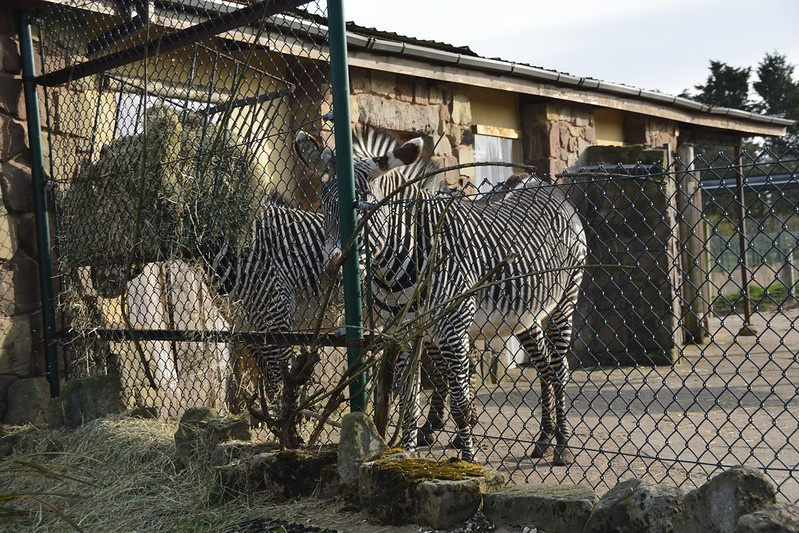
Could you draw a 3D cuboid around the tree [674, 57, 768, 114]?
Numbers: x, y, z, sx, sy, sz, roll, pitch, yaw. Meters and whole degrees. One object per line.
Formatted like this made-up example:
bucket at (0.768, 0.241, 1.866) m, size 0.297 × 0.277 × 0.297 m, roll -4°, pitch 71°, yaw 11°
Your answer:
tree at (9.609, -5.205, 38.318) m, size 1.580 × 2.068 × 1.905 m, roll -3°, pitch 19°, yaw 33°
